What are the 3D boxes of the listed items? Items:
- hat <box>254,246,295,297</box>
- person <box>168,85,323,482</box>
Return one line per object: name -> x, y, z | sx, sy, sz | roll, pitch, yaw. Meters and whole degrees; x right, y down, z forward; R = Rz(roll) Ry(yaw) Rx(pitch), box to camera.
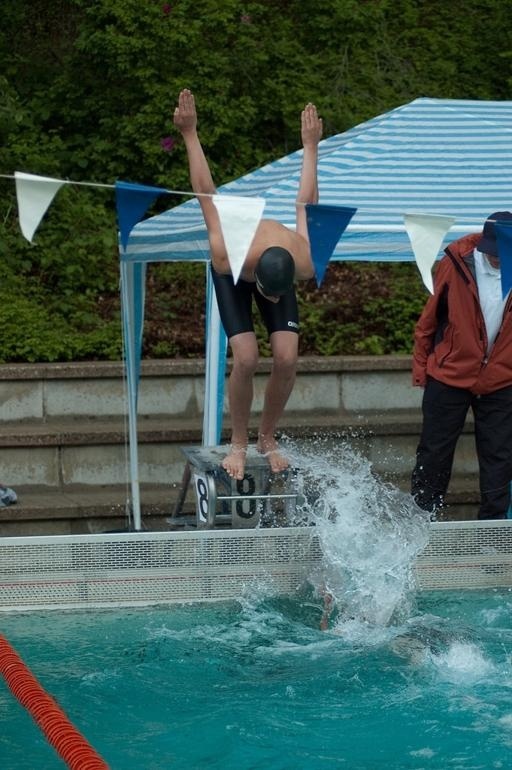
hat -> 0.079, -0.470, 5.163 | 0.168, 0.218, 0.195 | -1, 11, -1
person -> -0.025, -0.438, 5.401 | 0.587, 1.652, 0.701 | -1, 11, 3
